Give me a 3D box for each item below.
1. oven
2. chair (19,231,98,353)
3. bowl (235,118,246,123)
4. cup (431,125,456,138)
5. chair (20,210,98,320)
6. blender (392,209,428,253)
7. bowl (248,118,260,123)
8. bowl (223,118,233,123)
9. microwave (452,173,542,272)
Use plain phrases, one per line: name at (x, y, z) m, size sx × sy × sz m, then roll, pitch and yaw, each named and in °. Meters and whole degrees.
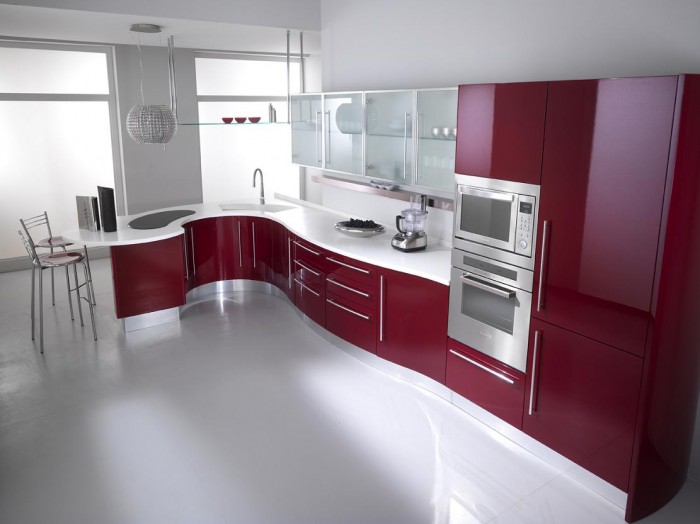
oven at (0.904, 0.358, 3.456) m, size 0.581 × 0.729 × 0.486 m, roll 16°, pitch -24°, yaw -9°
chair at (-2.932, 0.263, 4.851) m, size 0.557 × 1.099 × 0.542 m, roll -6°, pitch 15°, yaw -31°
bowl at (-1.218, -1.588, 5.347) m, size 0.102 × 0.063 × 0.306 m, roll -5°, pitch 18°, yaw -9°
cup at (0.737, -1.023, 3.744) m, size 0.090 × 0.058 × 0.151 m, roll -10°, pitch 19°, yaw -34°
chair at (-3.372, 0.064, 5.508) m, size 0.443 × 0.827 × 1.060 m, roll -7°, pitch 20°, yaw -27°
blender at (0.519, -0.301, 4.173) m, size 0.368 × 0.386 × 0.300 m, roll -10°, pitch 17°, yaw -35°
bowl at (-1.055, -1.575, 5.303) m, size 0.108 × 0.062 × 0.214 m, roll -5°, pitch 18°, yaw -11°
bowl at (-1.326, -1.545, 5.200) m, size 0.103 × 0.053 × 0.102 m, roll 0°, pitch 11°, yaw 0°
microwave at (0.947, -0.320, 3.131) m, size 0.490 × 0.551 × 0.815 m, roll -7°, pitch 17°, yaw -33°
